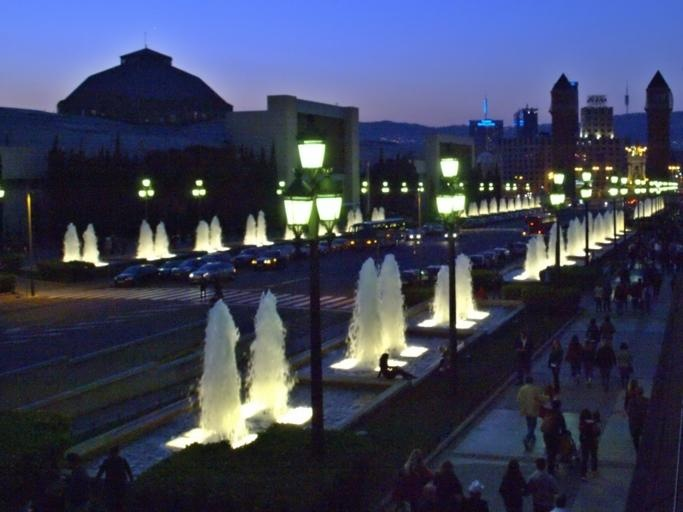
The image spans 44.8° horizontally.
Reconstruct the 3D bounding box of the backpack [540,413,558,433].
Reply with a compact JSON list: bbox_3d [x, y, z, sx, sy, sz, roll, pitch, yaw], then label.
[{"bbox_3d":[4.307,3.432,17.089,0.367,0.379,0.218,-1,5,18],"label":"backpack"}]

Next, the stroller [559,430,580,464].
[{"bbox_3d":[4.785,3.896,17.440,0.480,0.724,0.696,4,26,20],"label":"stroller"}]
